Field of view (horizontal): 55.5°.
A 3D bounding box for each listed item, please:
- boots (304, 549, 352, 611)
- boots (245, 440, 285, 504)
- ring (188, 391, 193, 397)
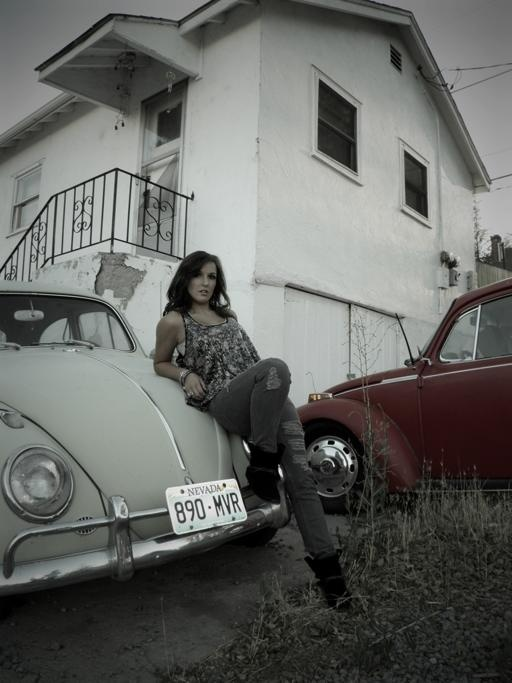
[{"bbox_3d":[0.292,0.915,1.995,0.121,0.065,0.177,2,-1,-27],"label":"boots"},{"bbox_3d":[0.030,0.582,2.244,0.205,0.315,0.213,2,-2,-27],"label":"boots"},{"bbox_3d":[-0.331,0.263,2.398,0.021,0.007,0.023,1,39,-1],"label":"ring"}]
